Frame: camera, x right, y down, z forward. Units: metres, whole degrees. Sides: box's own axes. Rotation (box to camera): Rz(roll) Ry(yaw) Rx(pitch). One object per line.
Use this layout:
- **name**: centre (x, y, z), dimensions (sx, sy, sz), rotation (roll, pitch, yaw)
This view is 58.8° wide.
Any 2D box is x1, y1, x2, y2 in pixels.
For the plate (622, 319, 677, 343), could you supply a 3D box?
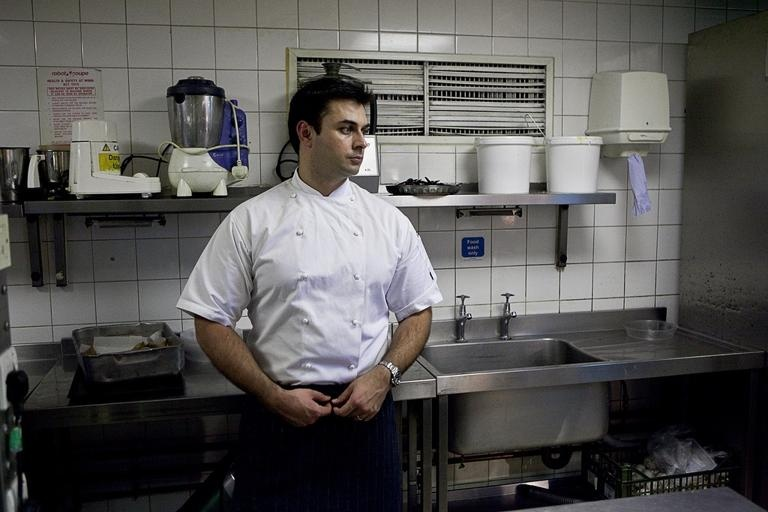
- **plate**: centre (1.546, 0.429, 3.982), dimensions (0.277, 0.085, 0.231), rotation (-3, 9, -6)

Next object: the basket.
- **basket**: centre (1.525, 1.191, 3.743), dimensions (0.686, 0.245, 0.490), rotation (-2, 2, -9)

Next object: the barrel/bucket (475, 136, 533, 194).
- **barrel/bucket**: centre (0.640, -0.490, 3.776), dimensions (0.324, 0.269, 0.307), rotation (-1, 3, 0)

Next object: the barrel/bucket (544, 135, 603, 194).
- **barrel/bucket**: centre (1.024, -0.506, 3.819), dimensions (0.315, 0.272, 0.309), rotation (-1, 4, 0)

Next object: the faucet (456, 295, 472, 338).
- **faucet**: centre (0.455, 0.351, 3.910), dimensions (0.089, 0.272, 0.133), rotation (0, 9, 10)

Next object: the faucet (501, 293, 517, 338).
- **faucet**: centre (0.720, 0.339, 3.956), dimensions (0.091, 0.271, 0.126), rotation (1, 9, 16)

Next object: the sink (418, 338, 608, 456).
- **sink**: centre (0.676, 0.749, 3.694), dimensions (1.004, 0.508, 0.551), rotation (-4, 9, -12)
